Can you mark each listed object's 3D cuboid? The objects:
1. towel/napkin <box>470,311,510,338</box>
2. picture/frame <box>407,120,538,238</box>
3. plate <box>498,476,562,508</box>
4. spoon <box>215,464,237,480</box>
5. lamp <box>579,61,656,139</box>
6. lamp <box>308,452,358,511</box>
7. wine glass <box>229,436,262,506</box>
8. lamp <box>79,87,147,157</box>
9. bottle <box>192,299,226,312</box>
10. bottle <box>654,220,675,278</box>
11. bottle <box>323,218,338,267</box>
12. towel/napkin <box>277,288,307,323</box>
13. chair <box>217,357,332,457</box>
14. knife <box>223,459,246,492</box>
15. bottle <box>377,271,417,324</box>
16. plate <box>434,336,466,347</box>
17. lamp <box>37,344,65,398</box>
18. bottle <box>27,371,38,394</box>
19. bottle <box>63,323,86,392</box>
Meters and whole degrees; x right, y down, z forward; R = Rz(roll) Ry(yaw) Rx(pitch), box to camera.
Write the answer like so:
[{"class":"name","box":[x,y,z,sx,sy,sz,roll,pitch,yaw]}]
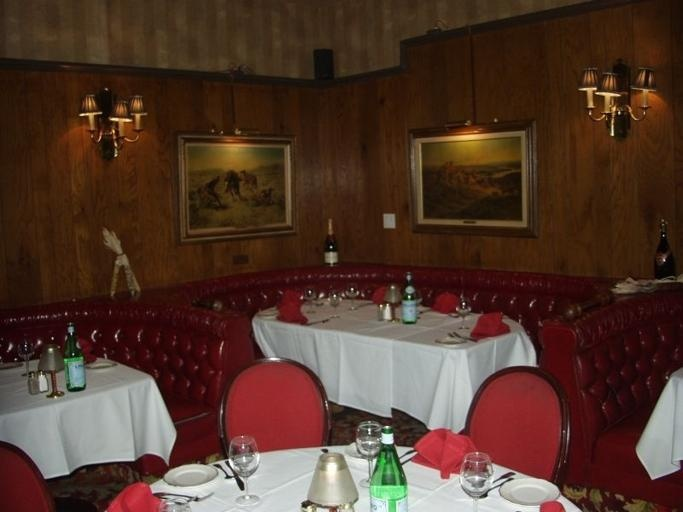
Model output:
[{"class":"towel/napkin","box":[1.095,0.504,4.272,0.400,0.160,0.139,-5,6,-35]},{"class":"picture/frame","box":[1.363,-0.785,5.849,1.105,0.943,0.055,2,7,38]},{"class":"plate","box":[0.736,0.924,2.284,0.221,0.040,0.180,1,6,30]},{"class":"spoon","box":[-0.497,0.921,2.501,0.036,0.025,0.216,3,4,-27]},{"class":"lamp","box":[2.286,-1.300,4.903,0.587,0.701,0.414,13,25,44]},{"class":"lamp","box":[-0.030,0.837,2.138,0.161,0.146,0.190,4,11,16]},{"class":"wine glass","box":[-0.394,0.841,2.372,0.113,0.263,0.219,-3,5,-11]},{"class":"lamp","box":[-2.119,-1.232,5.443,0.611,0.674,0.416,-4,6,-23]},{"class":"bottle","box":[-1.126,0.420,4.916,0.207,0.128,0.067,7,5,31]},{"class":"bottle","box":[2.622,-0.053,4.722,0.158,0.462,0.446,2,6,30]},{"class":"bottle","box":[-0.117,-0.167,6.746,0.173,0.522,0.459,-1,5,0]},{"class":"towel/napkin","box":[-0.414,0.419,4.953,0.234,0.105,0.250,-3,12,-21]},{"class":"chair","box":[-0.371,0.751,3.263,0.487,0.725,0.483,-1,-2,-12]},{"class":"knife","box":[-0.445,0.919,2.473,0.048,0.039,0.210,-17,18,-15]},{"class":"bottle","box":[0.492,0.368,5.037,0.338,0.534,0.227,-2,-6,26]},{"class":"plate","box":[0.777,0.602,4.108,0.203,0.023,0.248,2,6,36]},{"class":"lamp","box":[-1.785,0.686,3.592,0.141,0.271,0.450,-4,6,-28]},{"class":"bottle","box":[-1.849,0.767,3.503,0.046,0.115,0.086,-4,6,-28]},{"class":"bottle","box":[-1.617,0.600,3.537,0.122,0.424,0.226,-4,6,-26]}]
